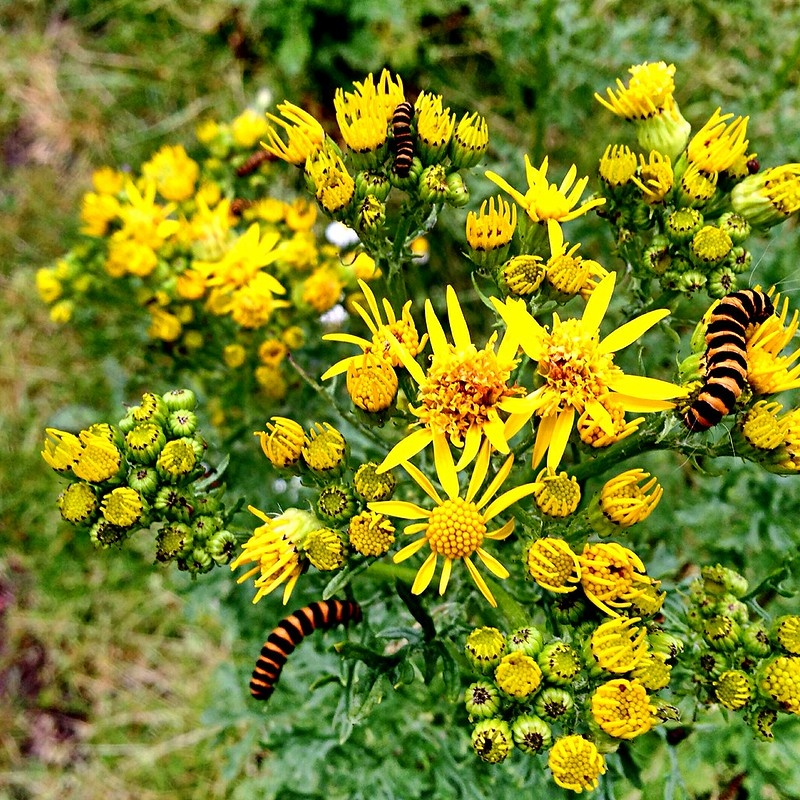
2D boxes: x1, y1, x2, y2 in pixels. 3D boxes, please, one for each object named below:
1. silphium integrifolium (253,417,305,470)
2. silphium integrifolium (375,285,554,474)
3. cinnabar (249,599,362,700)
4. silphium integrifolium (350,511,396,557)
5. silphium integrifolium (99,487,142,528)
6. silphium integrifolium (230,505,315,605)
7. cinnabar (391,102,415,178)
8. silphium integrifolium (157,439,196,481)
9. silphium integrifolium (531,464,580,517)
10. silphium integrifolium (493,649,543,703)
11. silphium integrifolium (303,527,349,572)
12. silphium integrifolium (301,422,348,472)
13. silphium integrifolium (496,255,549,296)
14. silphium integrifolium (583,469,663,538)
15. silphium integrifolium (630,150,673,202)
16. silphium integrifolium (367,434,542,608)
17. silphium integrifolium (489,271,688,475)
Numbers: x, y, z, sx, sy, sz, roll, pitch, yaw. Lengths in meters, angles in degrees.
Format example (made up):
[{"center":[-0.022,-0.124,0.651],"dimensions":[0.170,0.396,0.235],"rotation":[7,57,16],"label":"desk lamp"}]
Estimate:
[{"center":[-0.562,0.198,5.114],"dimensions":[0.195,0.184,0.205],"rotation":[-29,125,-13],"label":"silphium integrifolium"},{"center":[0.250,-0.049,4.615],"dimensions":[0.488,0.584,0.888],"rotation":[3,103,6],"label":"silphium integrifolium"},{"center":[-0.456,1.122,5.067],"dimensions":[0.563,0.519,0.227],"rotation":[-39,83,-2],"label":"cinnabar"},{"center":[-0.120,0.584,4.719],"dimensions":[0.189,0.077,0.187],"rotation":[-7,91,0],"label":"silphium integrifolium"},{"center":[-1.237,0.486,4.832],"dimensions":[0.197,0.104,0.177],"rotation":[-29,84,-1],"label":"silphium integrifolium"},{"center":[-0.546,0.666,4.689],"dimensions":[0.278,0.167,0.420],"rotation":[19,85,4],"label":"silphium integrifolium"},{"center":[0.009,-1.165,4.836],"dimensions":[0.110,0.100,0.325],"rotation":[2,89,-8],"label":"cinnabar"},{"center":[-0.997,0.271,4.873],"dimensions":[0.157,0.128,0.183],"rotation":[7,91,-8],"label":"silphium integrifolium"},{"center":[0.682,0.403,4.652],"dimensions":[0.202,0.138,0.204],"rotation":[-3,67,-12],"label":"silphium integrifolium"},{"center":[0.503,1.162,4.500],"dimensions":[0.195,0.091,0.185],"rotation":[26,85,4],"label":"silphium integrifolium"},{"center":[-0.324,0.649,4.640],"dimensions":[0.158,0.098,0.192],"rotation":[-18,92,-1],"label":"silphium integrifolium"},{"center":[-0.323,0.226,4.780],"dimensions":[0.192,0.117,0.207],"rotation":[34,86,5],"label":"silphium integrifolium"},{"center":[0.546,-0.549,4.718],"dimensions":[0.159,0.104,0.195],"rotation":[-35,76,1],"label":"silphium integrifolium"},{"center":[0.951,0.438,4.598],"dimensions":[0.324,0.245,0.212],"rotation":[-32,83,-1],"label":"silphium integrifolium"},{"center":[1.162,-1.012,4.940],"dimensions":[0.136,0.202,0.236],"rotation":[5,67,-2],"label":"silphium integrifolium"},{"center":[0.242,0.530,4.578],"dimensions":[0.751,0.497,0.884],"rotation":[1,101,-27],"label":"silphium integrifolium"},{"center":[0.791,-0.105,4.630],"dimensions":[0.754,0.424,0.786],"rotation":[-9,84,1],"label":"silphium integrifolium"}]
